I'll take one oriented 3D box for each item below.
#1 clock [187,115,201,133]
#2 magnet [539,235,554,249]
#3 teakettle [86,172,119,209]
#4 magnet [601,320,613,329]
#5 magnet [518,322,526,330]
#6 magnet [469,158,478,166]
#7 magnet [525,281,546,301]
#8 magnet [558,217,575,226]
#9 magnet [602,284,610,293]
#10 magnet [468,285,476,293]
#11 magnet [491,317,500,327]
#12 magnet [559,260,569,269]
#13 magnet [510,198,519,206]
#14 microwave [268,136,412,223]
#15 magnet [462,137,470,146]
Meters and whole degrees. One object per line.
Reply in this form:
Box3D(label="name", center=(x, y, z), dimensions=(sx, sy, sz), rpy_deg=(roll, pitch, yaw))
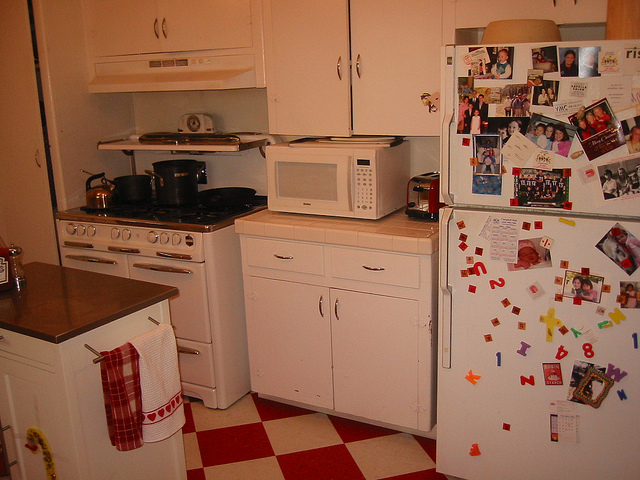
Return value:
Box3D(label="clock", center=(-0.898, -0.825, 3.623), dimensions=(0.109, 0.113, 0.026), rpy_deg=(5, 11, 34))
Box3D(label="magnet", center=(0.965, 0.009, 2.166), dimensions=(0.045, 0.048, 0.047), rpy_deg=(2, 2, 22))
Box3D(label="teakettle", center=(-1.511, -0.335, 3.503), dimensions=(0.233, 0.246, 0.223), rpy_deg=(-3, 4, -2))
Box3D(label="magnet", center=(1.208, 0.351, 2.139), dimensions=(0.060, 0.026, 0.006), rpy_deg=(-13, -16, 25))
Box3D(label="magnet", center=(0.899, 0.382, 2.271), dimensions=(0.030, 0.029, 0.007), rpy_deg=(4, 3, 33))
Box3D(label="magnet", center=(0.673, -0.343, 2.229), dimensions=(0.032, 0.034, 0.012), rpy_deg=(4, 13, 27))
Box3D(label="magnet", center=(0.939, 0.218, 2.199), dimensions=(0.075, 0.079, 0.018), rpy_deg=(-47, -7, 24))
Box3D(label="magnet", center=(1.030, -0.075, 2.122), dimensions=(0.056, 0.024, 0.008), rpy_deg=(14, 24, 30))
Box3D(label="magnet", center=(1.187, 0.202, 2.114), dimensions=(0.026, 0.033, 0.005), rpy_deg=(2, 11, 28))
Box3D(label="magnet", center=(0.697, 0.221, 2.330), dimensions=(0.039, 0.039, 0.010), rpy_deg=(8, 4, 27))
Box3D(label="magnet", center=(0.797, 0.371, 2.315), dimensions=(0.030, 0.031, 0.008), rpy_deg=(-13, -3, 41))
Box3D(label="magnet", center=(1.034, 0.101, 2.155), dimensions=(0.037, 0.036, 0.009), rpy_deg=(5, 4, 26))
Box3D(label="magnet", center=(0.839, -0.162, 2.199), dimensions=(0.046, 0.045, 0.025), rpy_deg=(1, 3, 38))
Box3D(label="microwave", center=(0.090, -0.360, 2.999), dimensions=(0.838, 0.475, 0.376), rpy_deg=(-1, 10, 12))
Box3D(label="magnet", center=(0.640, -0.429, 2.229), dimensions=(0.035, 0.036, 0.009), rpy_deg=(4, 6, 33))
